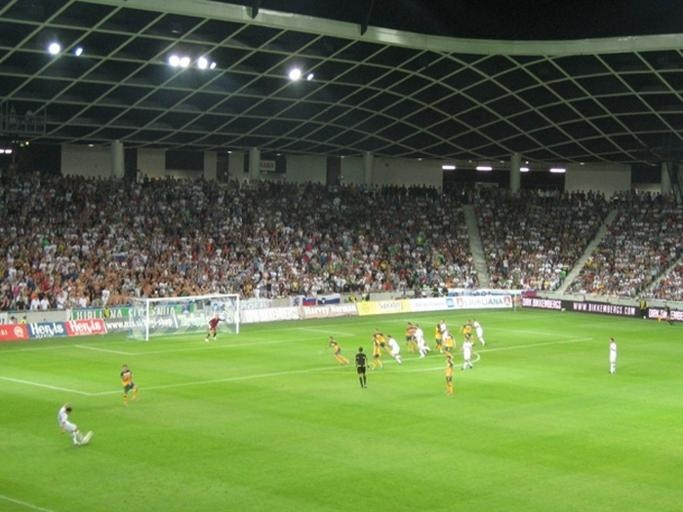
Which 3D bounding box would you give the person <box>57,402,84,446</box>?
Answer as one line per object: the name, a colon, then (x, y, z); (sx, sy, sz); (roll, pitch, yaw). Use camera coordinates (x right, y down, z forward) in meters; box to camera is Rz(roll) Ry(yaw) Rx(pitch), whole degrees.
person: (-10.106, 5.988, 26.795); (0.816, 1.405, 2.537); (-1, 4, -21)
